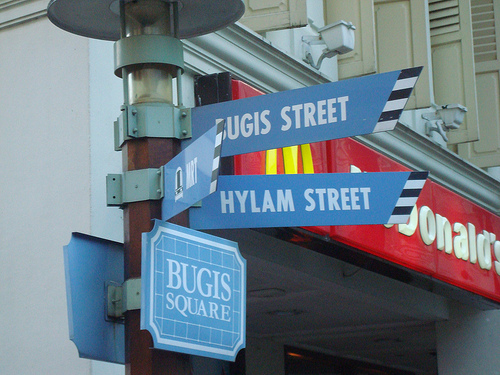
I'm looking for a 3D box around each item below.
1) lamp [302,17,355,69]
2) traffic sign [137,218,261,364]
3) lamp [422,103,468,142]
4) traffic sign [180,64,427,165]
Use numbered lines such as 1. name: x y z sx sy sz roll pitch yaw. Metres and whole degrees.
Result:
1. lamp: 0.750 -1.441 11.777 0.550 0.540 0.297 -14 -12 33
2. traffic sign: -0.384 0.707 8.609 1.140 1.291 0.125 9 -14 -43
3. lamp: 2.211 -0.734 13.679 0.372 0.433 0.599 5 -8 -39
4. traffic sign: 0.403 -0.525 8.579 1.576 0.569 0.090 -1 -6 10
